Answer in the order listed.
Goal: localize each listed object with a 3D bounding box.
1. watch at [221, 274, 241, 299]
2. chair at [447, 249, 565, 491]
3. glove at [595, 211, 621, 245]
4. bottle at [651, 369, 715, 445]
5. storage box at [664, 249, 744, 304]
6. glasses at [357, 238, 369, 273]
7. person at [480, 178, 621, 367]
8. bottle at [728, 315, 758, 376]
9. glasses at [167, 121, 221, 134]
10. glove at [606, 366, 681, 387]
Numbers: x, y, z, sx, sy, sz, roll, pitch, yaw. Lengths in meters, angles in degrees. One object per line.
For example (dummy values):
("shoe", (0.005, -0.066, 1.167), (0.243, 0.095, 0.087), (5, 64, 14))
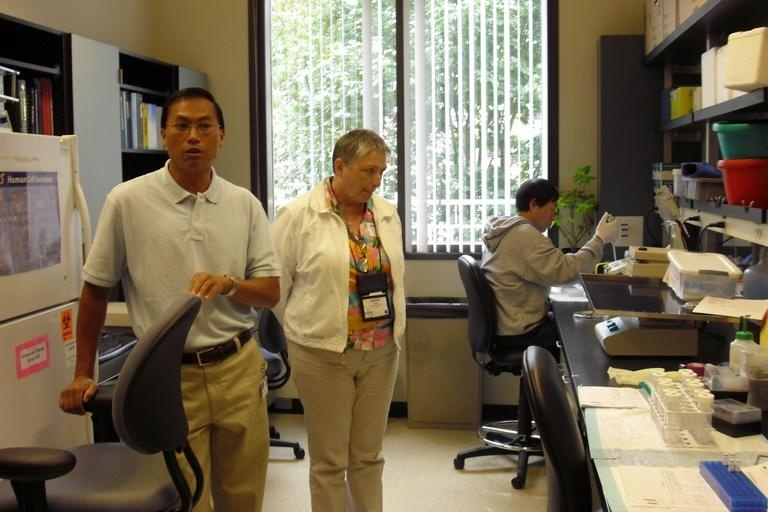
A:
("watch", (-0.598, 0.119, 2.409), (0.056, 0.091, 0.085), (8, 18, -22))
("chair", (0.892, 0.664, 3.905), (0.907, 1.354, 0.841), (0, 0, 24))
("glove", (1.409, -0.201, 3.869), (0.176, 0.256, 0.094), (2, 0, -3))
("bottle", (1.062, 0.535, 2.179), (0.177, 0.172, 0.258), (1, 13, 7))
("storage box", (1.532, 0.088, 2.946), (0.276, 0.150, 0.404), (2, 14, 15))
("glasses", (-0.099, -0.003, 2.853), (0.067, 0.147, 0.076), (-3, 12, -10))
("person", (1.079, 0.260, 3.984), (0.868, 1.510, 0.650), (-2, 10, 7))
("bottle", (1.407, 0.354, 2.394), (0.119, 0.225, 0.123), (4, 10, -1))
("glasses", (-0.754, -0.509, 2.421), (0.179, 0.043, 0.055), (-7, 14, -24))
("glove", (1.031, 0.490, 2.516), (0.151, 0.049, 0.136), (0, 4, 0))
